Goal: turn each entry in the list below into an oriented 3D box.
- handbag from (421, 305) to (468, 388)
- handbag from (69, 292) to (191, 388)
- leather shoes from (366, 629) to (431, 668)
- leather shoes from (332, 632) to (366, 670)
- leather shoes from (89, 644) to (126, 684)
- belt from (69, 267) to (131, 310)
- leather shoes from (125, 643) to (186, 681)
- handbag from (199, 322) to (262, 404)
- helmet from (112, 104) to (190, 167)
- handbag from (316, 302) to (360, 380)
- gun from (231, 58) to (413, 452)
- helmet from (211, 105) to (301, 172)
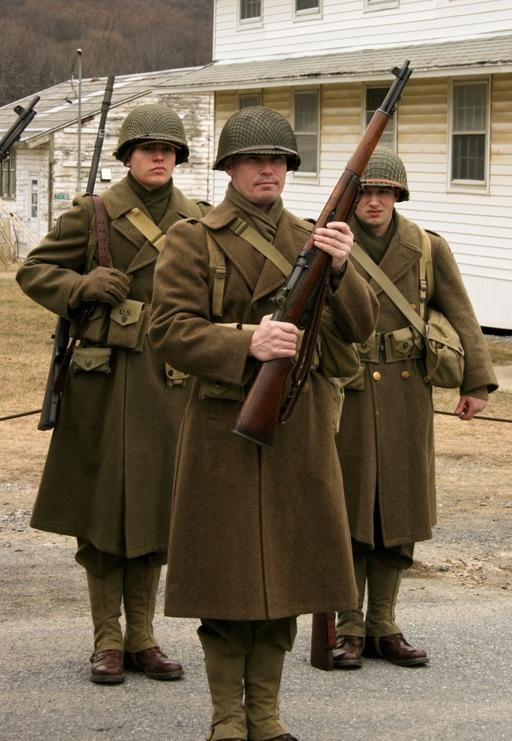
[{"bbox_3d":[0.780,-0.102,3.463,0.147,0.310,0.325,-3,31,22],"label":"handbag"},{"bbox_3d":[-0.539,-0.133,3.202,0.341,0.381,0.170,3,9,20],"label":"handbag"},{"bbox_3d":[0.541,1.095,3.295,0.092,0.105,0.266,4,-8,-40],"label":"leather shoes"},{"bbox_3d":[0.369,1.084,3.339,0.151,0.170,0.454,-1,-11,9],"label":"leather shoes"},{"bbox_3d":[-0.531,1.046,2.973,0.090,0.083,0.202,2,-14,-7],"label":"leather shoes"},{"bbox_3d":[-0.592,-0.308,3.144,0.221,0.153,0.152,1,-1,-10],"label":"belt"},{"bbox_3d":[-0.370,1.072,3.100,0.096,0.099,0.251,5,-8,-42],"label":"leather shoes"},{"bbox_3d":[-0.060,-0.012,2.203,0.168,0.195,0.080,11,-5,8],"label":"handbag"},{"bbox_3d":[-0.381,-0.923,3.349,0.308,0.202,0.366,4,2,-6],"label":"helmet"},{"bbox_3d":[0.230,-0.084,2.398,0.140,0.179,0.062,11,-17,-22],"label":"handbag"},{"bbox_3d":[0.156,-0.341,2.228,0.211,1.078,0.581,1,-1,40],"label":"gun"},{"bbox_3d":[0.004,-0.641,2.284,0.239,0.159,0.255,-1,8,-7],"label":"helmet"}]
